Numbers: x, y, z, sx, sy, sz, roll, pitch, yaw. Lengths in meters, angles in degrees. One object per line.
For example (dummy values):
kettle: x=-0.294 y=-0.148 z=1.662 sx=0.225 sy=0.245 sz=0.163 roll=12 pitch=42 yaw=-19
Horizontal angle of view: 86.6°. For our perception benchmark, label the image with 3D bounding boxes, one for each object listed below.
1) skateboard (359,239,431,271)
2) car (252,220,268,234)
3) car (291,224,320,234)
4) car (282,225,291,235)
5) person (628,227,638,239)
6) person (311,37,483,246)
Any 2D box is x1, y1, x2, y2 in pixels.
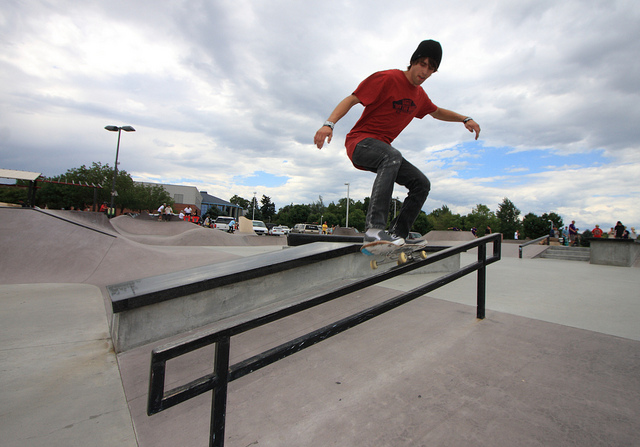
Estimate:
skateboard: x=0.770 y=0.282 z=3.397 sx=0.570 sy=0.167 sz=0.387 roll=8 pitch=-13 yaw=-41
car: x=-5.386 y=0.340 z=30.657 sx=1.547 sy=1.208 sz=3.553 roll=1 pitch=-7 yaw=-13
car: x=-1.331 y=0.508 z=32.591 sx=1.247 sy=0.902 sz=2.071 roll=2 pitch=6 yaw=-29
car: x=-3.374 y=0.643 z=34.225 sx=0.937 sy=0.598 sz=1.528 roll=8 pitch=-3 yaw=-25
person: x=13.637 y=0.401 z=14.792 sx=0.251 sy=0.443 sz=1.665 roll=2 pitch=2 yaw=42
person: x=0.718 y=-0.781 z=3.450 sx=1.542 sy=1.980 sz=0.794 roll=-2 pitch=3 yaw=-39
